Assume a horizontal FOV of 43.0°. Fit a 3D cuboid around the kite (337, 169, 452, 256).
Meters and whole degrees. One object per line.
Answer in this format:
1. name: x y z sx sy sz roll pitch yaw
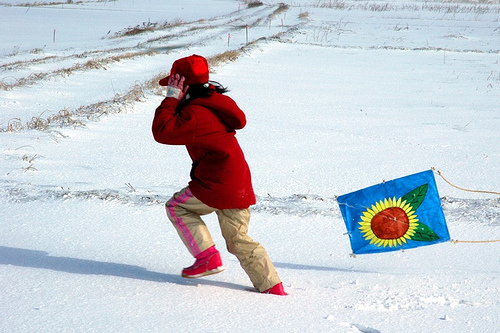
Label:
1. kite: 2.371 0.913 10.567 0.267 1.211 1.941 6 -21 -42
